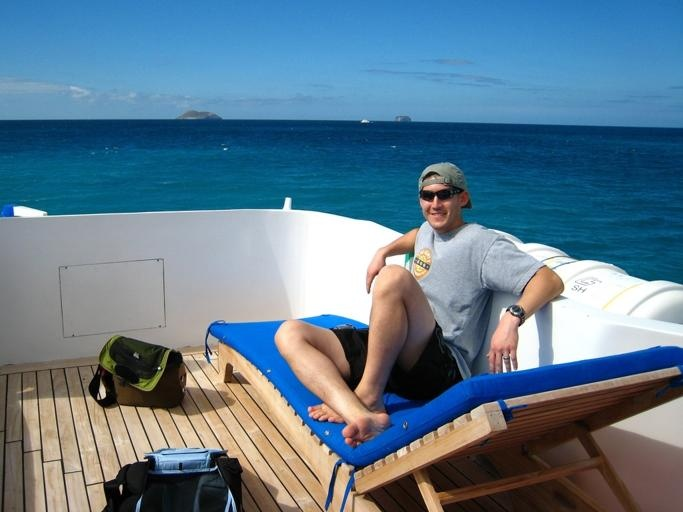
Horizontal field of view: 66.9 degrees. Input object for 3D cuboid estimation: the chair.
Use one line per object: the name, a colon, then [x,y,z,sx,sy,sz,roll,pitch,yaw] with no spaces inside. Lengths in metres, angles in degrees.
chair: [0.146,0.358,2.067,0.670,0.485,1.443,-6,17,-31]

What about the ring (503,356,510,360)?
ring: [0.614,0.378,1.917,0.016,0.007,0.013,-3,-2,26]

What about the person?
person: [0.339,0.165,2.298,1.169,1.176,1.003,0,-8,11]

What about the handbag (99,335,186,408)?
handbag: [-1.101,0.645,2.873,0.473,0.340,0.348,7,20,14]

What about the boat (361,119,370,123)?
boat: [5.102,-29.108,112.711,1.877,0.651,1.875,3,7,6]

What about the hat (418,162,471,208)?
hat: [0.478,-0.326,2.366,0.198,0.190,0.237,-4,-1,34]
